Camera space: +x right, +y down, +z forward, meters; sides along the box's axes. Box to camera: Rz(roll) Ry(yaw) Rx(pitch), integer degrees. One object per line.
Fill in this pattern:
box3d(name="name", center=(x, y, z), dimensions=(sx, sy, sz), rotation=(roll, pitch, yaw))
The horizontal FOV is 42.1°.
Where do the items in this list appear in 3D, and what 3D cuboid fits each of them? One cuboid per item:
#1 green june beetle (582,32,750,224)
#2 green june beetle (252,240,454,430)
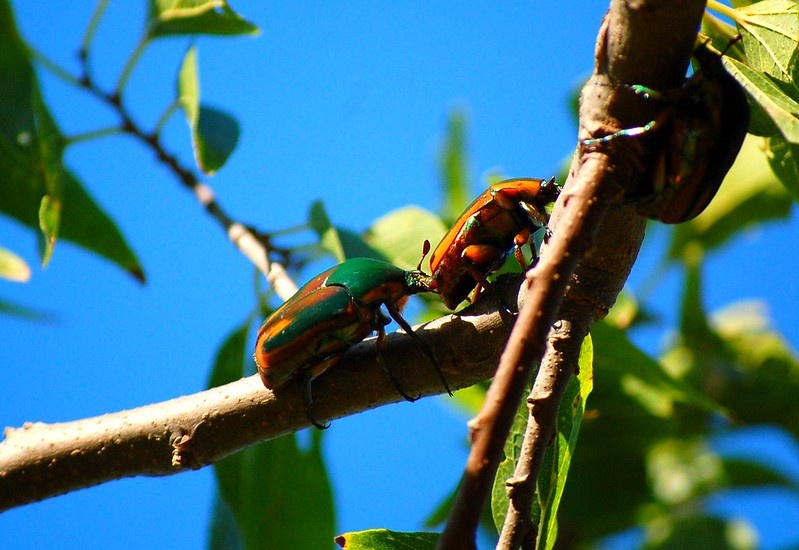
box3d(name="green june beetle", center=(0.575, -0.272, 2.150), dimensions=(0.317, 0.310, 0.100), rotation=(-49, -3, 21))
box3d(name="green june beetle", center=(-0.112, 0.094, 2.331), dimensions=(0.421, 0.342, 0.296), rotation=(-12, 20, -1))
